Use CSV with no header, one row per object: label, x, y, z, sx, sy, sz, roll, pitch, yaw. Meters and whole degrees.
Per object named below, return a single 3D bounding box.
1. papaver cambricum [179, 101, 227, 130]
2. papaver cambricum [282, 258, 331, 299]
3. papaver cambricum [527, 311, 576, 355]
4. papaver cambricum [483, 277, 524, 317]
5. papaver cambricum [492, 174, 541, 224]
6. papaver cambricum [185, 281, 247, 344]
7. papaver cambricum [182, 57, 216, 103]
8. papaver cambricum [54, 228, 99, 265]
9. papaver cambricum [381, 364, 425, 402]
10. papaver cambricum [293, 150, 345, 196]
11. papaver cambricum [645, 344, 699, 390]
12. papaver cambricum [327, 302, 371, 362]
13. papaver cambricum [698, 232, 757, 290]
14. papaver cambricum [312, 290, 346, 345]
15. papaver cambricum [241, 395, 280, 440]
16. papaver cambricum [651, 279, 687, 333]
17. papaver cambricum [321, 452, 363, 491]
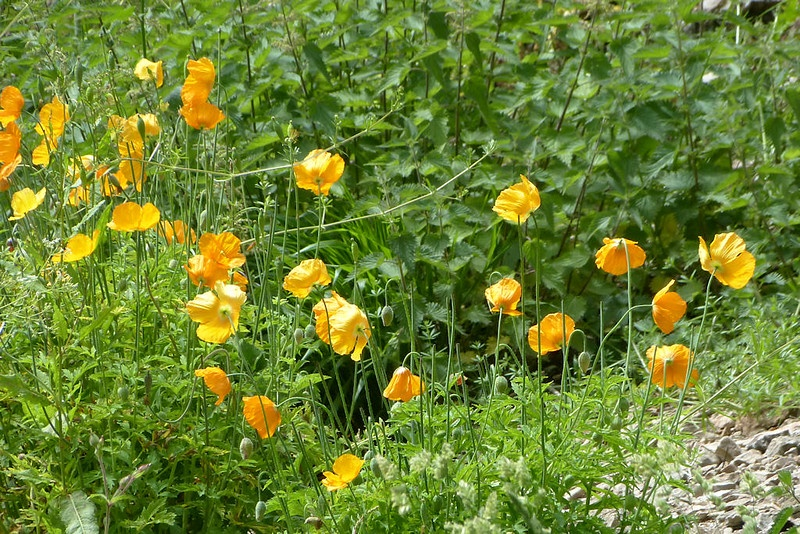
papaver cambricum,-0.631,-0.483,2.771,0.131,0.092,0.141,-16,-1,-10
papaver cambricum,-0.259,0.035,2.453,0.129,0.057,0.121,4,-36,-36
papaver cambricum,0.471,0.191,2.574,0.165,0.089,0.184,-15,0,42
papaver cambricum,0.307,0.081,2.542,0.101,0.112,0.054,10,14,3
papaver cambricum,0.330,-0.188,2.468,0.121,0.138,0.357,-15,-1,7
papaver cambricum,-0.502,0.126,2.438,0.168,0.150,0.082,-54,-10,5
papaver cambricum,-0.619,-0.578,2.716,0.066,0.113,0.130,-31,-22,-52
papaver cambricum,-0.975,-0.048,2.589,0.106,0.087,0.296,-15,-2,-31
papaver cambricum,0.015,0.319,2.390,0.127,0.075,0.113,6,12,37
papaver cambricum,-0.250,-0.309,2.714,0.194,0.107,0.199,12,-6,-22
papaver cambricum,0.787,0.287,2.489,0.126,0.135,0.260,-15,0,18
papaver cambricum,-0.144,0.174,2.445,0.088,0.148,0.133,-18,-41,28
papaver cambricum,0.961,-0.016,2.542,0.140,0.162,0.176,-15,0,15
papaver cambricum,-0.209,0.144,2.454,0.054,0.141,0.132,4,10,-29
papaver cambricum,-0.377,0.393,2.367,0.125,0.056,0.158,-13,3,0
papaver cambricum,0.753,0.122,2.474,0.065,0.152,0.126,8,15,26
papaver cambricum,-0.137,0.521,2.250,0.096,0.049,0.089,-4,13,-5
